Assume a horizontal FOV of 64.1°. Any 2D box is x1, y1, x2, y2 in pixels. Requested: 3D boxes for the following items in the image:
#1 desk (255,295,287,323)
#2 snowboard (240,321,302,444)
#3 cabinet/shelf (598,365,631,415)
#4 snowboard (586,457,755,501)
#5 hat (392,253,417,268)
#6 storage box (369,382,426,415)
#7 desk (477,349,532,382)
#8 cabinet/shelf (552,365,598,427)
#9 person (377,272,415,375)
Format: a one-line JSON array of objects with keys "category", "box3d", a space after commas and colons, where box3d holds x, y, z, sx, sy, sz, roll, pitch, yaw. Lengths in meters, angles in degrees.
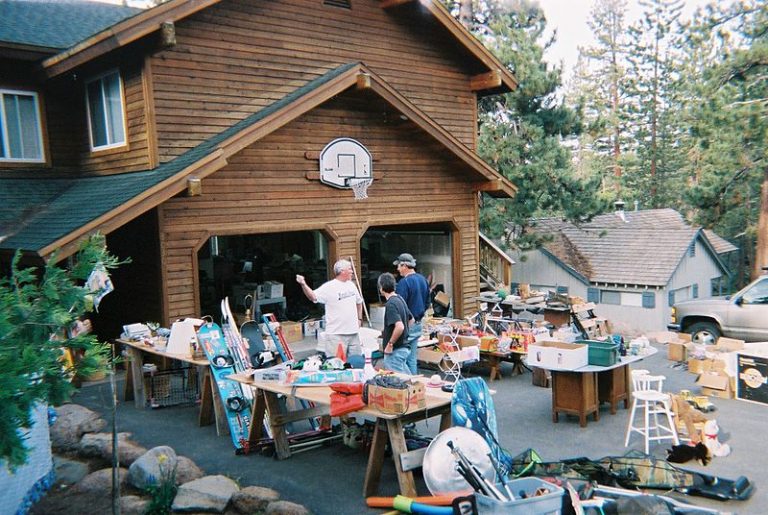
[{"category": "desk", "box3d": [-3.071, 1.328, 16.423, 1.143, 0.726, 0.616, 0, -3, -30]}, {"category": "snowboard", "box3d": [-1.825, 2.055, 10.791, 0.702, 2.348, 0.337, -1, -29, -25]}, {"category": "cabinet/shelf", "box3d": [4.275, 2.390, 11.450, 0.582, 0.624, 0.562, -12, -16, 7]}, {"category": "snowboard", "box3d": [3.994, 3.128, 8.622, 1.562, 0.351, 0.405, 4, 7, 12]}, {"category": "hat", "box3d": [0.317, 0.049, 11.570, 0.520, 0.249, 0.355, 4, 5, 22]}, {"category": "storage box", "box3d": [0.175, 1.949, 8.531, 0.747, 0.348, 0.725, 0, -6, 32]}, {"category": "desk", "box3d": [2.428, 2.339, 13.395, 0.589, 0.296, 0.558, -6, -19, -38]}, {"category": "cabinet/shelf", "box3d": [3.428, 2.442, 10.998, 1.020, 0.897, 1.051, 1, -4, -34]}, {"category": "person", "box3d": [0.167, 1.139, 10.530, 0.521, 1.740, 0.857, -1, -4, 13]}]
